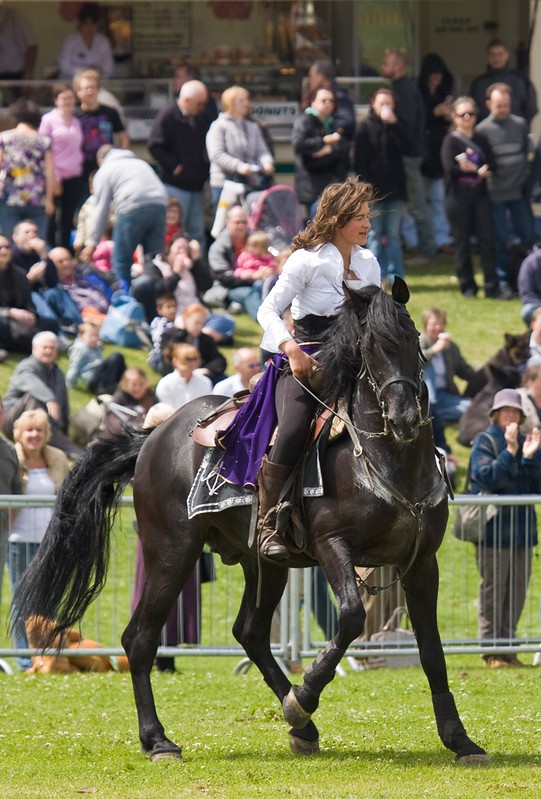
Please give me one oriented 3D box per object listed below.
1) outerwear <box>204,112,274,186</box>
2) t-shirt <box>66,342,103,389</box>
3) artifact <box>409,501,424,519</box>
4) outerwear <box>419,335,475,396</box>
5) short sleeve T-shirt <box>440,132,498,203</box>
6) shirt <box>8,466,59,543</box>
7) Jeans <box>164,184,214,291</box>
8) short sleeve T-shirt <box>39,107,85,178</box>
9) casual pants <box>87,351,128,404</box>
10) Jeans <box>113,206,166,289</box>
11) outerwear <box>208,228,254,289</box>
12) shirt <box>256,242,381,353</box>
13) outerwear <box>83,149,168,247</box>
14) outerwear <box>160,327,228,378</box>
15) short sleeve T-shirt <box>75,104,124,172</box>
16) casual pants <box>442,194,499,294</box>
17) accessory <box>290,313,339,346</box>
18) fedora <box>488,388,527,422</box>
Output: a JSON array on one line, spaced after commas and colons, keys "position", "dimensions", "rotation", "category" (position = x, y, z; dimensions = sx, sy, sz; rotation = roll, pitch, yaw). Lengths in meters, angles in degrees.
[{"position": [-0.366, -2.831, 20.204], "dimensions": [0.736, 0.933, 0.601], "rotation": [2, -9, -42], "category": "outerwear"}, {"position": [-1.880, -0.336, 18.049], "dimensions": [0.417, 0.421, 0.237], "rotation": [0, 11, -44], "category": "t-shirt"}, {"position": [0.878, 0.665, 10.536], "dimensions": [0.073, 0.108, 0.036], "rotation": [-2, 8, -31], "category": "artifact"}, {"position": [1.743, -0.307, 17.555], "dimensions": [0.613, 0.634, 0.335], "rotation": [2, -9, -39], "category": "outerwear"}, {"position": [2.339, -2.727, 20.707], "dimensions": [0.695, 0.861, 0.469], "rotation": [-8, 6, -29], "category": "short sleeve T-shirt"}, {"position": [-1.836, 0.842, 13.632], "dimensions": [0.555, 0.607, 0.026], "rotation": [-1, 8, -3], "category": "shirt"}, {"position": [-0.805, -1.665, 19.448], "dimensions": [0.353, 1.516, 0.783], "rotation": [0, -2, -2], "category": "Jeans"}, {"position": [-2.312, -2.830, 19.562], "dimensions": [0.339, 0.699, 0.598], "rotation": [17, 32, 31], "category": "short sleeve T-shirt"}, {"position": [-1.637, -0.231, 17.888], "dimensions": [0.159, 0.505, 0.282], "rotation": [17, -4, 43], "category": "casual pants"}, {"position": [-1.433, -1.618, 18.733], "dimensions": [0.381, 0.916, 0.265], "rotation": [4, 9, 23], "category": "Jeans"}, {"position": [-0.445, -1.506, 19.587], "dimensions": [0.479, 0.768, 0.876], "rotation": [0, 11, 2], "category": "outerwear"}, {"position": [0.408, -0.642, 11.107], "dimensions": [0.893, 0.828, 0.449], "rotation": [1, 10, -22], "category": "shirt"}, {"position": [-1.509, -2.173, 18.848], "dimensions": [0.777, 1.166, 0.820], "rotation": [-3, 6, 39], "category": "outerwear"}, {"position": [-0.727, -0.473, 17.841], "dimensions": [0.435, 0.621, 0.216], "rotation": [-22, 21, 6], "category": "outerwear"}, {"position": [-1.986, -2.977, 20.279], "dimensions": [0.582, 0.951, 0.360], "rotation": [-6, 25, -12], "category": "short sleeve T-shirt"}, {"position": [2.477, -1.959, 21.317], "dimensions": [0.494, 1.744, 0.396], "rotation": [4, 34, 16], "category": "casual pants"}, {"position": [0.280, -0.448, 11.115], "dimensions": [0.168, 0.158, 0.219], "rotation": [-6, 15, -33], "category": "accessory"}, {"position": [1.957, 0.052, 14.661], "dimensions": [0.200, 0.194, 0.301], "rotation": [1, -15, 2], "category": "fedora"}]
